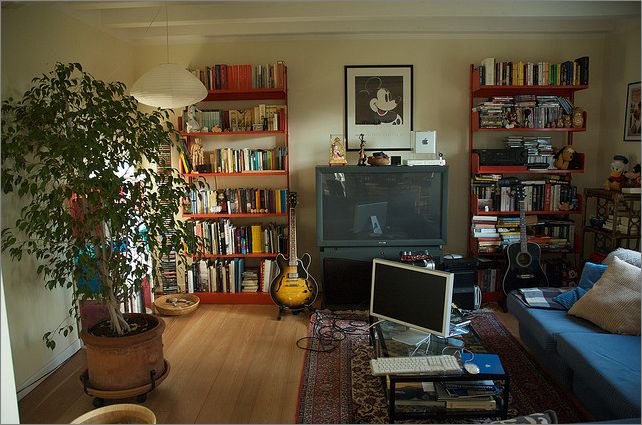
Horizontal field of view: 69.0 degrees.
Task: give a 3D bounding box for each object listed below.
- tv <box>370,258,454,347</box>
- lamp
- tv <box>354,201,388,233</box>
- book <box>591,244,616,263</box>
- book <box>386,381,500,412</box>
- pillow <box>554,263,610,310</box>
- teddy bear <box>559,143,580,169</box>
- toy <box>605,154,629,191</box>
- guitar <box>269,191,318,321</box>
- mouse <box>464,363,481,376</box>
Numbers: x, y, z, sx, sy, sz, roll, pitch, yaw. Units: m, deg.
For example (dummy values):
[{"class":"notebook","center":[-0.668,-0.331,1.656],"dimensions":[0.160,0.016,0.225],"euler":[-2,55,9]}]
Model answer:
[{"class":"tv","center":[0.764,0.801,3.995],"dimensions":[0.909,0.656,0.093],"euler":[9,14,27]},{"class":"lamp","center":[-1.517,-1.670,4.590],"dimensions":[0.794,1.259,0.766],"euler":[-4,11,-22]},{"class":"tv","center":[0.639,0.087,5.614],"dimensions":[0.449,0.381,0.193],"euler":[-10,20,-24]},{"class":"book","center":[3.214,0.465,5.287],"dimensions":[0.041,0.173,0.180],"euler":[28,6,4]},{"class":"book","center":[1.014,1.433,3.676],"dimensions":[0.424,0.097,0.415],"euler":[1,2,3]},{"class":"pillow","center":[2.584,0.720,4.588],"dimensions":[0.141,0.447,0.449],"euler":[30,2,5]},{"class":"teddy bear","center":[3.032,-0.675,5.724],"dimensions":[0.214,0.294,0.167],"euler":[2,10,25]},{"class":"toy","center":[3.465,-0.462,5.449],"dimensions":[0.213,0.400,0.384],"euler":[4,11,36]},{"class":"guitar","center":[-0.314,0.501,5.574],"dimensions":[0.507,1.443,0.581],"euler":[1,9,20]},{"class":"mouse","center":[1.192,1.219,3.679],"dimensions":[0.123,0.063,0.164],"euler":[1,9,18]}]
